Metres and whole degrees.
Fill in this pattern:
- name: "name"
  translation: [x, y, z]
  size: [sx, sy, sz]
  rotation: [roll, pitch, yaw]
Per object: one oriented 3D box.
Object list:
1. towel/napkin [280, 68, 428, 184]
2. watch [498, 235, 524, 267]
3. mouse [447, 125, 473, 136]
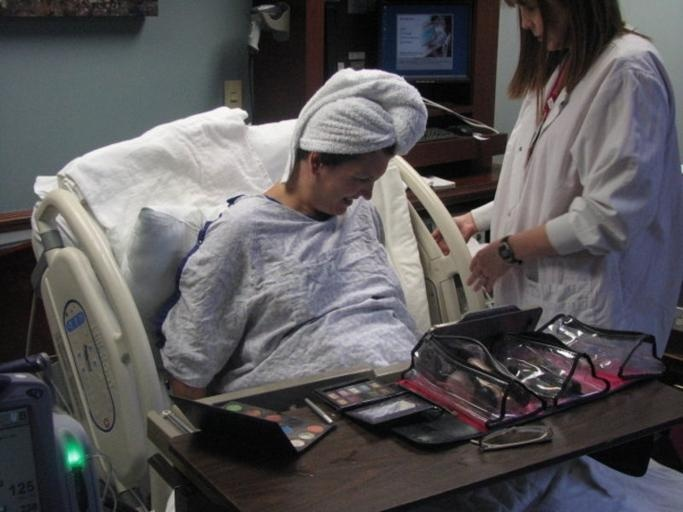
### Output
- name: "towel/napkin"
  translation: [0.023, -0.353, 1.546]
  size: [0.413, 0.305, 0.190]
  rotation: [0, 9, 3]
- name: "watch"
  translation: [0.507, -0.011, 1.726]
  size: [0.057, 0.091, 0.079]
  rotation: [-33, 8, -15]
- name: "mouse"
  translation: [0.590, -0.618, 2.828]
  size: [0.054, 0.032, 0.105]
  rotation: [-5, 12, -19]
